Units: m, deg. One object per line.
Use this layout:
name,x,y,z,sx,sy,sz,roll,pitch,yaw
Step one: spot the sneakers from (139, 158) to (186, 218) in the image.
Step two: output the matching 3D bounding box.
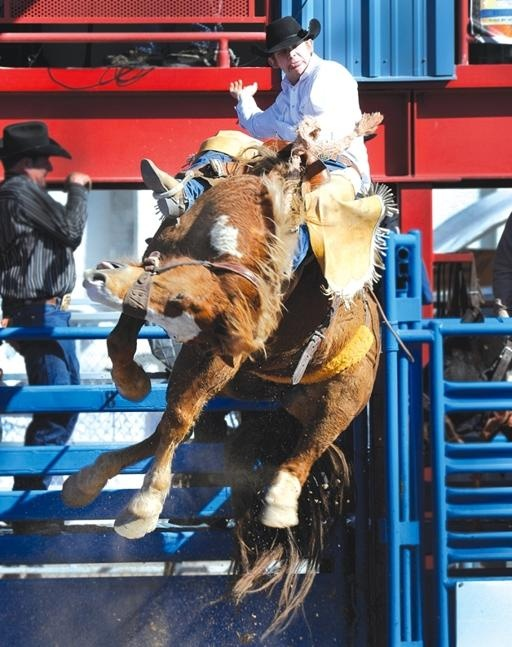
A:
sneakers,-0.359,-0.511,4.288,0.176,0.157,0.161,6,4,-31

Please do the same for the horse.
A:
horse,-0.092,0.400,4.664,0.704,1.369,2.264,34,-22,26

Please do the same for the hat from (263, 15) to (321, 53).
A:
hat,0.156,-1.269,4.994,0.217,0.085,0.233,-22,11,10
